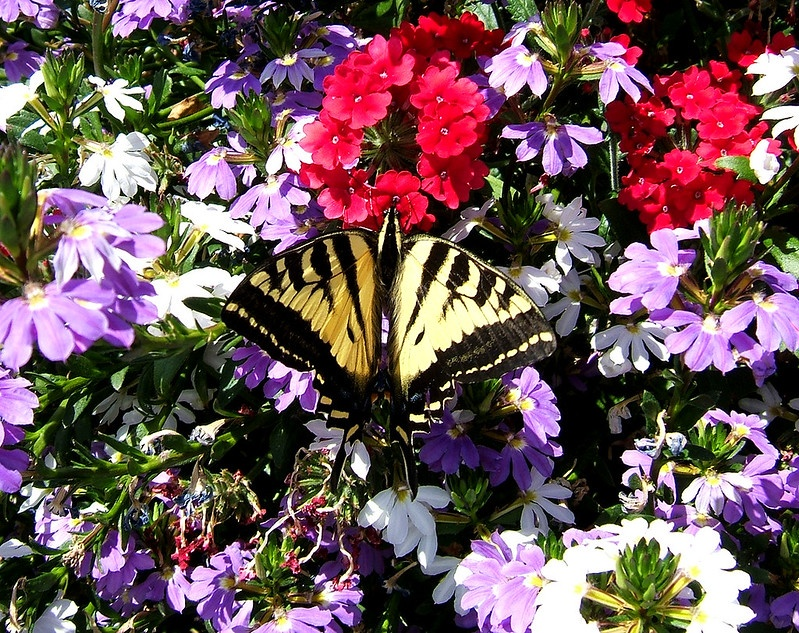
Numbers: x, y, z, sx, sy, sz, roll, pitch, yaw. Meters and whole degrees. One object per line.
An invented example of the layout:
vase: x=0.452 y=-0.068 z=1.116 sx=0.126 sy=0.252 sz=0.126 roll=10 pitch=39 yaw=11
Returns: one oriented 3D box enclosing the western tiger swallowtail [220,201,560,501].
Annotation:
western tiger swallowtail: x=-0.019 y=0.087 z=1.961 sx=0.751 sy=0.686 sz=0.239 roll=-3 pitch=7 yaw=2
